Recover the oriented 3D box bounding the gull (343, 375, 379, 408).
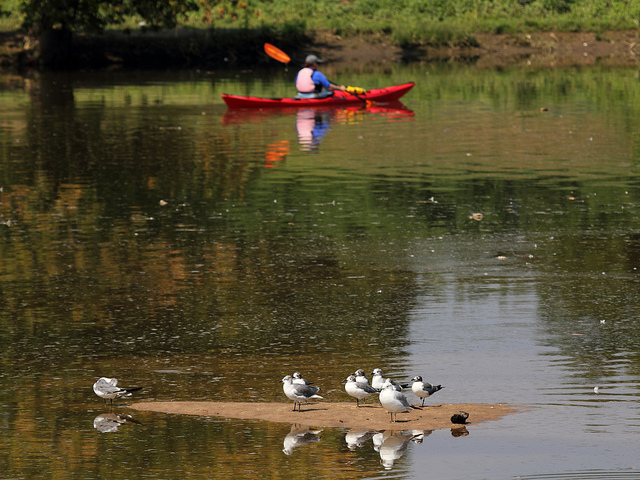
[{"bbox_3d":[0.472,1.707,15.864,0.443,0.340,0.229,2,3,-27],"label":"gull"}]

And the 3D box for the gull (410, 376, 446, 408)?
[{"bbox_3d":[1.211,1.696,15.916,0.211,0.336,0.591,5,5,44],"label":"gull"}]

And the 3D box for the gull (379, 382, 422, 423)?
[{"bbox_3d":[0.887,1.821,15.605,0.552,0.391,0.307,8,-8,-42],"label":"gull"}]

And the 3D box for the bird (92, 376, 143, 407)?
[{"bbox_3d":[-2.286,1.728,16.011,0.535,0.327,0.449,2,8,34],"label":"bird"}]

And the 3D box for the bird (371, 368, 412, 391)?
[{"bbox_3d":[0.769,1.575,15.903,0.443,0.238,0.188,-2,-3,-32],"label":"bird"}]

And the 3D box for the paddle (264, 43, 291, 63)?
[{"bbox_3d":[-1.385,-5.938,44.628,0.640,0.531,1.597,-2,6,-1],"label":"paddle"}]

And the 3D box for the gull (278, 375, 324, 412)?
[{"bbox_3d":[-0.229,1.720,15.804,0.661,0.384,0.234,0,1,-41],"label":"gull"}]

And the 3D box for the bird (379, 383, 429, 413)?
[{"bbox_3d":[0.945,1.770,15.686,0.297,0.416,0.672,1,7,27],"label":"bird"}]
